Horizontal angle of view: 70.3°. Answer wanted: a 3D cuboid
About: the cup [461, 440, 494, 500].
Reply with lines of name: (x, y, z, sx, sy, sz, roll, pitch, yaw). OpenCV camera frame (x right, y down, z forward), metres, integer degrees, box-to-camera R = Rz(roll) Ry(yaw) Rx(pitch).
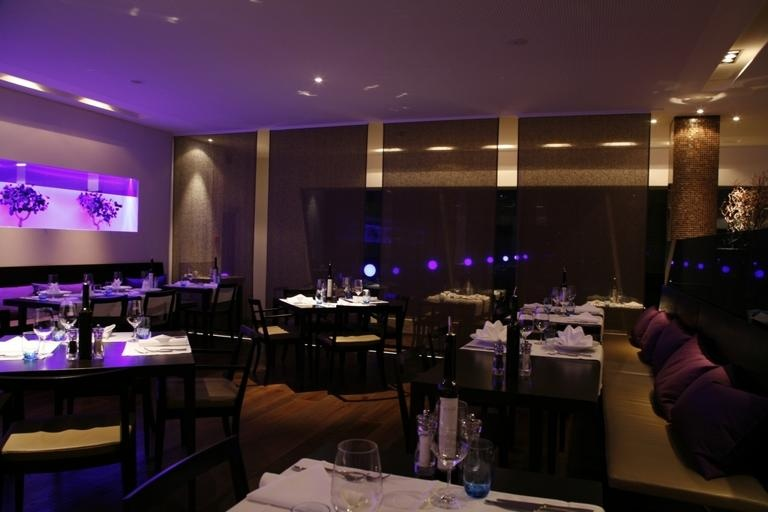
cup: (0.472, 1.110, 2.805, 0.166, 0.262, 0.163, 5, -15, 1)

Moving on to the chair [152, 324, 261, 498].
chair: (-1.575, 1.225, 4.766, 0.960, 1.111, 0.960, 3, 3, 7)

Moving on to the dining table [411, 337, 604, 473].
dining table: (0.950, 1.054, 3.938, 1.117, 0.781, 1.629, 0, -4, 19)

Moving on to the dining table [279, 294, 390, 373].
dining table: (-0.686, 0.884, 7.085, 1.185, 0.712, 1.165, 3, -9, -18)

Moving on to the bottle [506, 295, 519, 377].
bottle: (0.919, 0.561, 3.882, 0.100, 0.537, 0.459, 3, 7, 14)

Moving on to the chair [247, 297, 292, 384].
chair: (-1.396, 1.025, 6.996, 0.649, 0.920, 0.586, 0, 3, -26)

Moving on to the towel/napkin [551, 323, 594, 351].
towel/napkin: (1.509, 0.663, 4.419, 0.230, 0.119, 0.230, 0, -3, 3)

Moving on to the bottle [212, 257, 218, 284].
bottle: (-2.862, 0.237, 9.335, 0.112, 0.385, 0.469, -1, 7, -18)

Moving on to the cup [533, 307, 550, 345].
cup: (1.419, 0.636, 4.933, 0.128, 0.288, 0.120, 3, 5, 0)

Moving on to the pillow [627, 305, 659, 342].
pillow: (3.069, 0.840, 6.518, 0.160, 0.442, 0.440, 20, 27, 12)

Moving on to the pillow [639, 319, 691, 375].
pillow: (2.635, 0.884, 5.142, 0.144, 0.456, 0.489, 23, 21, 0)

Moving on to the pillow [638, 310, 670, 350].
pillow: (2.829, 0.825, 5.785, 0.123, 0.409, 0.410, 25, 14, 7)

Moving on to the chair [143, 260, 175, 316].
chair: (-3.203, 0.644, 7.850, 0.379, 0.626, 1.763, -2, 7, -21)

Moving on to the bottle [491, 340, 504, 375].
bottle: (0.809, 0.702, 3.860, 0.069, 0.232, 0.187, 2, 7, 12)
